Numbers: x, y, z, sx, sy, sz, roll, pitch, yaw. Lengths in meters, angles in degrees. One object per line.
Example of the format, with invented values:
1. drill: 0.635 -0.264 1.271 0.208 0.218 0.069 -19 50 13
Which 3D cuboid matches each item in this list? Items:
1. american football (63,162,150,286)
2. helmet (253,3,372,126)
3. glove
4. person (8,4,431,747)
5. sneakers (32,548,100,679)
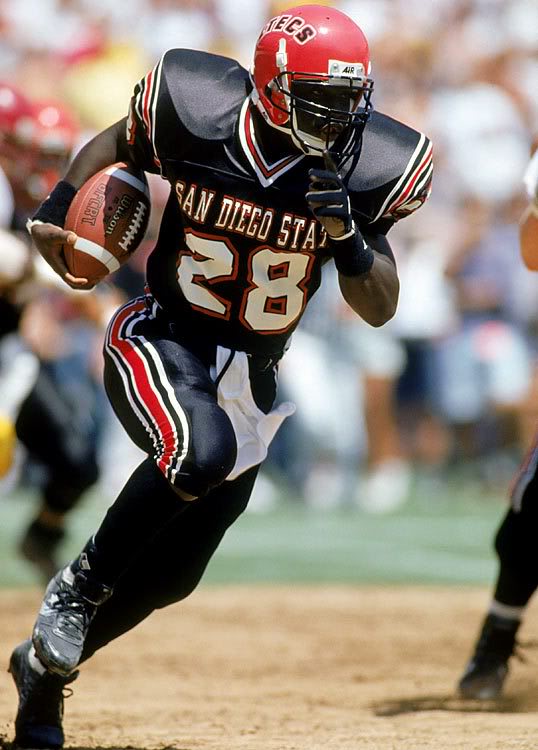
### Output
1. american football: -0.403 -0.375 2.271 0.201 0.302 0.202 34 -7 -39
2. helmet: 0.092 -0.687 1.991 0.253 0.307 0.195 12 7 -5
3. glove: 0.173 -0.323 1.902 0.091 0.104 0.302 53 -10 36
4. person: -0.058 -0.156 2.248 1.202 1.929 0.770 7 15 9
5. sneakers: -0.426 0.500 2.020 0.114 0.157 0.332 53 17 -30
